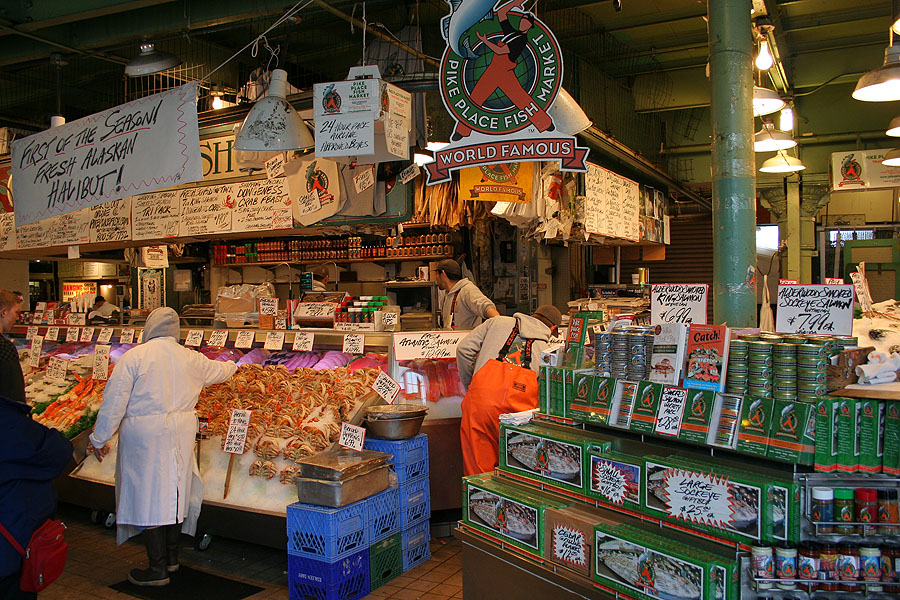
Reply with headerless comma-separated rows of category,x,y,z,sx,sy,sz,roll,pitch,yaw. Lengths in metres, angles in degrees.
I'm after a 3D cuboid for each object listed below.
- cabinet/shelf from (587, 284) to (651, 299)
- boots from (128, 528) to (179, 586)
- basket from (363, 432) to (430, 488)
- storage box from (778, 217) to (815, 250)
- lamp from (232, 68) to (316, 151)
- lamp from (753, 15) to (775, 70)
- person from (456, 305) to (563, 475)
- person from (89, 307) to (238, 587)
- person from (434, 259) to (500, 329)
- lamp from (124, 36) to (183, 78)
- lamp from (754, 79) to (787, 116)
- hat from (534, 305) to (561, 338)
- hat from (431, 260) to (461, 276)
cabinet/shelf,2.532,-0.142,10.823,0.901,0.193,0.525,1,2,10
boots,-2.360,1.987,5.641,0.354,0.447,0.267,1,1,-11
basket,-0.408,1.265,5.745,0.397,0.241,0.406,-3,-4,45
storage box,6.433,-1.257,13.202,0.609,0.608,0.744,2,2,22
lamp,-1.408,-1.548,5.784,0.595,0.611,0.596,-5,16,-31
lamp,3.373,-2.710,7.674,0.164,0.585,0.885,1,2,24
person,0.418,0.762,5.621,0.793,1.285,1.135,1,1,3
person,-2.351,1.133,5.713,0.951,2.142,0.461,0,1,-27
person,0.154,-0.053,7.967,0.274,0.815,0.818,-3,-3,-22
lamp,-2.596,-2.079,6.225,0.392,0.227,0.384,-17,22,-4
lamp,3.239,-2.038,7.258,0.246,0.174,0.442,2,2,26
hat,0.840,0.193,6.205,0.272,0.199,0.191,28,-2,-35
hat,-0.044,-0.346,7.581,0.194,0.109,0.285,-2,6,-38
